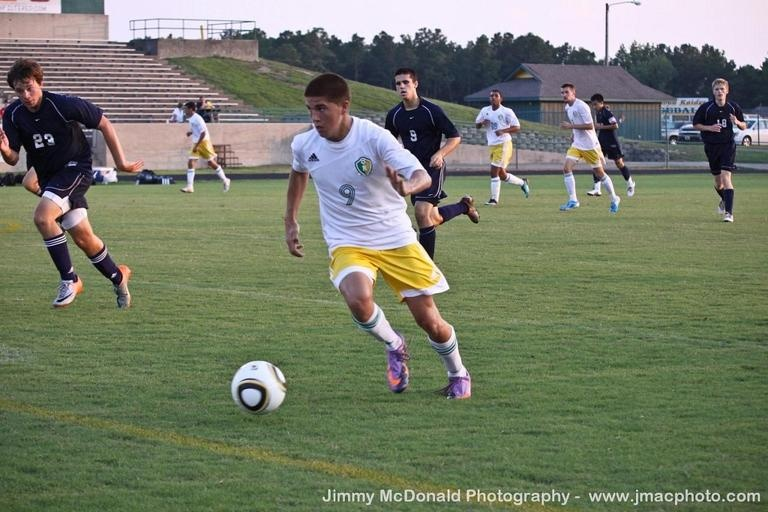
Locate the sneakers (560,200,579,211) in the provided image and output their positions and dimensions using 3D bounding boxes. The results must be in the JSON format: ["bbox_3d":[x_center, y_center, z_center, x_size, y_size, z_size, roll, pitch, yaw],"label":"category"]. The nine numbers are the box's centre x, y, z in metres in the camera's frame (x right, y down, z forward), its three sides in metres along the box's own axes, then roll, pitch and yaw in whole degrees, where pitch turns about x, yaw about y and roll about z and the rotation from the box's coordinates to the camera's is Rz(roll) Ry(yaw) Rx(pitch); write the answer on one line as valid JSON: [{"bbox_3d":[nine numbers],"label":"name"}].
[{"bbox_3d":[3.842,-1.058,18.008,0.255,0.193,0.685,5,11,37],"label":"sneakers"}]

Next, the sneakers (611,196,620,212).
[{"bbox_3d":[4.663,-1.041,17.611,0.155,0.178,0.422,5,52,23],"label":"sneakers"}]

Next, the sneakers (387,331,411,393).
[{"bbox_3d":[0.121,0.865,6.972,0.168,0.436,0.211,-1,-1,9],"label":"sneakers"}]

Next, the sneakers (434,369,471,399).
[{"bbox_3d":[0.600,1.028,6.869,0.369,0.146,0.126,-7,2,-15],"label":"sneakers"}]

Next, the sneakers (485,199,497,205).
[{"bbox_3d":[2.329,-1.162,18.911,0.247,0.163,0.589,0,9,6],"label":"sneakers"}]

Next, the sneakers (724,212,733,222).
[{"bbox_3d":[6.107,-0.670,15.437,0.118,0.122,0.332,-2,-3,20],"label":"sneakers"}]

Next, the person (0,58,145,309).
[{"bbox_3d":[-3.322,-0.742,9.148,1.320,2.581,0.811,-2,9,-7],"label":"person"}]

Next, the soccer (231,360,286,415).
[{"bbox_3d":[-0.896,0.960,6.399,0.425,0.380,0.375,0,41,-4],"label":"soccer"}]

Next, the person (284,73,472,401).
[{"bbox_3d":[-0.124,-0.152,6.811,1.515,2.507,0.757,3,10,28],"label":"person"}]
